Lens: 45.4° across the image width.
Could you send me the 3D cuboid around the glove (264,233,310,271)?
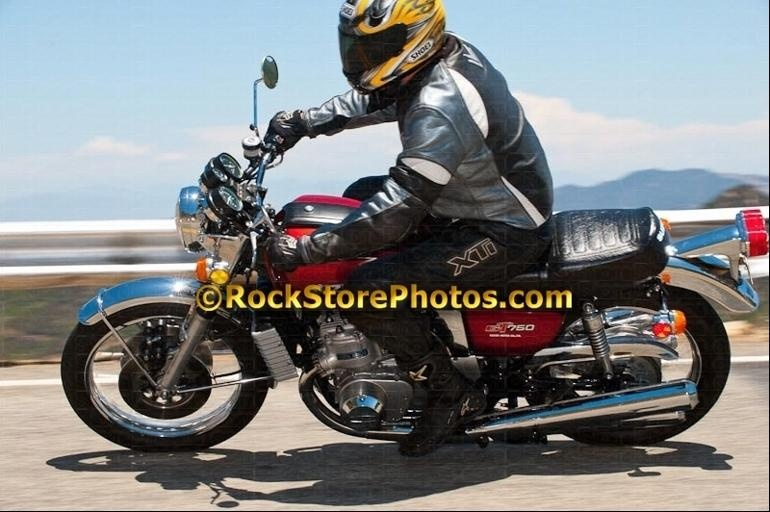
[{"bbox_3d":[-0.497,-0.020,4.568,0.205,0.181,0.067,0,3,24],"label":"glove"}]
